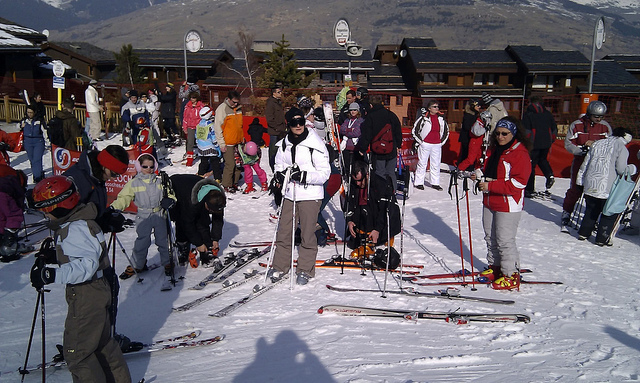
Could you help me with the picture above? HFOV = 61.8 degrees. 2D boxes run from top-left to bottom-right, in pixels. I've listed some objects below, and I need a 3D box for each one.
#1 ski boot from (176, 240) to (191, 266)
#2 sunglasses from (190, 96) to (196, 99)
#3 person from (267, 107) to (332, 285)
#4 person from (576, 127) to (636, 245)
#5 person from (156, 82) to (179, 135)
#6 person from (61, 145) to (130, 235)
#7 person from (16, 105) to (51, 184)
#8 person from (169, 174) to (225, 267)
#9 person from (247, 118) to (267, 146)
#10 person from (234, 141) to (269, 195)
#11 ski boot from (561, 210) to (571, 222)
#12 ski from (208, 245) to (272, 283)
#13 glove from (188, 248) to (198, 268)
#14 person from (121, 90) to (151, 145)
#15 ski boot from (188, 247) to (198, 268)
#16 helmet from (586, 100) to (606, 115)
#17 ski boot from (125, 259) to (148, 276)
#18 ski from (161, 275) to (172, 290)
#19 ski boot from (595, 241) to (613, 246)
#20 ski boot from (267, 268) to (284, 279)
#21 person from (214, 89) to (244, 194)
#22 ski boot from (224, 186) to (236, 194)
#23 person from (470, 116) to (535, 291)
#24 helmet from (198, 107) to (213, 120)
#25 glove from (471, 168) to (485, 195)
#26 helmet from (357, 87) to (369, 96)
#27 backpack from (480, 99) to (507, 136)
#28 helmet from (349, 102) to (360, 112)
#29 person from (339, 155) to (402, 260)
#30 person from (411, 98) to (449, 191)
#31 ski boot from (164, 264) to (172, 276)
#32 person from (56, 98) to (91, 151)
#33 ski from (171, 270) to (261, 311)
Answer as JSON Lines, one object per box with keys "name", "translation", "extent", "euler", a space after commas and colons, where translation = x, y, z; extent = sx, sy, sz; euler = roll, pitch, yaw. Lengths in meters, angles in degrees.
{"name": "ski boot", "translation": [-3.087, 1.387, 12.045], "extent": [0.205, 0.259, 0.617], "euler": [-3, 50, -10]}
{"name": "sunglasses", "translation": [-4.324, -3.176, 17.987], "extent": [0.144, 0.082, 0.087], "euler": [-1, 9, -17]}
{"name": "person", "translation": [-0.441, 0.177, 11.161], "extent": [1.208, 3.487, 0.714], "euler": [2, 9, 0]}
{"name": "person", "translation": [6.768, -0.134, 12.930], "extent": [1.079, 2.812, 0.605], "euler": [6, 10, 26]}
{"name": "person", "translation": [-5.964, -3.208, 20.782], "extent": [0.663, 2.010, 1.145], "euler": [-1, 9, -17]}
{"name": "person", "translation": [-4.006, -0.018, 9.516], "extent": [0.707, 1.131, 1.945], "euler": [21, -34, -25]}
{"name": "person", "translation": [-8.933, -1.464, 16.668], "extent": [0.820, 2.468, 0.727], "euler": [-4, 10, -31]}
{"name": "person", "translation": [-2.613, 0.702, 11.457], "extent": [1.418, 2.111, 0.980], "euler": [9, 12, 40]}
{"name": "person", "translation": [-1.949, -1.783, 16.215], "extent": [0.429, 0.783, 1.349], "euler": [0, 9, -8]}
{"name": "person", "translation": [-2.127, -0.784, 16.332], "extent": [0.870, 1.913, 0.609], "euler": [-16, 38, -16]}
{"name": "ski boot", "translation": [6.412, 0.659, 13.929], "extent": [0.183, 0.290, 0.103], "euler": [3, -16, 41]}
{"name": "ski", "translation": [-1.800, 1.649, 11.849], "extent": [0.177, 0.154, 1.741], "euler": [16, 26, 24]}
{"name": "glove", "translation": [-2.840, 1.517, 12.032], "extent": [0.195, 0.475, 0.159], "euler": [-10, -5, 14]}
{"name": "person", "translation": [-6.812, -2.548, 19.606], "extent": [1.052, 2.519, 0.663], "euler": [-18, 52, -34]}
{"name": "ski boot", "translation": [-2.878, 1.497, 12.042], "extent": [0.182, 0.471, 0.165], "euler": [-15, -6, 35]}
{"name": "helmet", "translation": [6.877, -2.069, 13.337], "extent": [0.318, 0.347, 0.430], "euler": [-5, 24, 7]}
{"name": "ski boot", "translation": [-3.971, 1.680, 11.738], "extent": [0.582, 0.252, 0.193], "euler": [-4, 14, -41]}
{"name": "ski", "translation": [-3.259, 1.950, 11.327], "extent": [0.197, 0.255, 0.190], "euler": [1, 6, -5]}
{"name": "ski boot", "translation": [6.892, 1.278, 13.007], "extent": [0.344, 0.169, 0.140], "euler": [-6, 12, 7]}
{"name": "ski boot", "translation": [-0.975, 1.739, 11.289], "extent": [0.243, 0.089, 0.184], "euler": [14, 46, 20]}
{"name": "person", "translation": [-2.750, -1.441, 15.998], "extent": [0.775, 3.127, 1.076], "euler": [1, 9, -2]}
{"name": "ski boot", "translation": [-2.820, -0.053, 16.583], "extent": [0.388, 0.144, 0.162], "euler": [21, -30, -27]}
{"name": "person", "translation": [3.703, 0.247, 10.887], "extent": [0.931, 3.535, 0.581], "euler": [5, 9, 21]}
{"name": "helmet", "translation": [-3.462, -2.374, 16.098], "extent": [0.338, 0.373, 0.264], "euler": [1, 9, -6]}
{"name": "glove", "translation": [3.254, -0.199, 11.042], "extent": [0.365, 0.502, 0.156], "euler": [-12, 6, -6]}
{"name": "helmet", "translation": [1.199, -2.872, 15.295], "extent": [0.272, 0.235, 0.467], "euler": [3, 9, 7]}
{"name": "backpack", "translation": [4.942, -2.249, 15.544], "extent": [0.449, 0.763, 0.854], "euler": [17, 4, 11]}
{"name": "helmet", "translation": [0.905, -2.289, 14.390], "extent": [0.266, 0.198, 0.377], "euler": [2, 9, 0]}
{"name": "person", "translation": [1.084, 0.467, 11.692], "extent": [1.272, 2.260, 0.679], "euler": [6, 10, 25]}
{"name": "person", "translation": [3.449, -1.475, 16.843], "extent": [1.015, 2.817, 1.360], "euler": [4, 9, 18]}
{"name": "ski boot", "translation": [-3.296, 1.701, 11.529], "extent": [0.179, 0.250, 0.255], "euler": [1, 1, -12]}
{"name": "person", "translation": [-7.859, -2.134, 16.884], "extent": [0.956, 1.590, 0.707], "euler": [0, 9, -10]}
{"name": "ski", "translation": [-2.148, 2.079, 11.032], "extent": [0.216, 0.187, 1.565], "euler": [23, 30, 32]}
